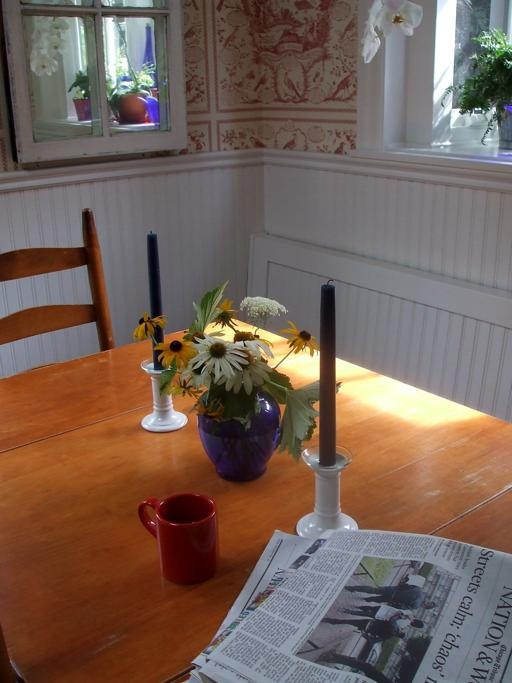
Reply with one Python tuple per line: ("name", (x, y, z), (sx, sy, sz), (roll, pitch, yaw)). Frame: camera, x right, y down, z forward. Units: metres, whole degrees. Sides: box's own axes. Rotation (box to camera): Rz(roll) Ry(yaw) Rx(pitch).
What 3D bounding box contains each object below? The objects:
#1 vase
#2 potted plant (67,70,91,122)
("vase", (-0.022, 0.133, 0.756), (0.131, 0.123, 0.137), (-4, 4, -43))
("potted plant", (-0.620, -0.863, 1.809), (0.074, 0.157, 0.034), (-11, 16, -27))
